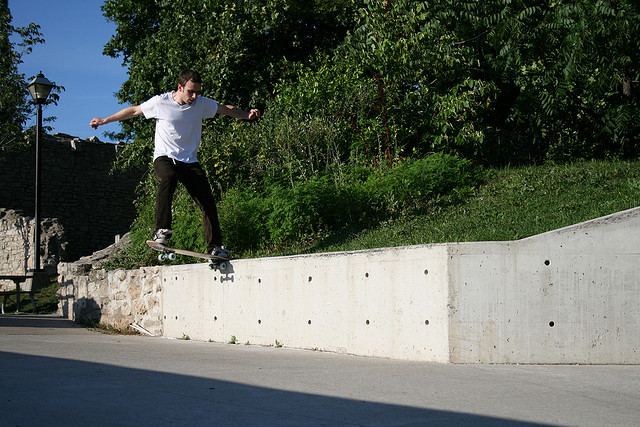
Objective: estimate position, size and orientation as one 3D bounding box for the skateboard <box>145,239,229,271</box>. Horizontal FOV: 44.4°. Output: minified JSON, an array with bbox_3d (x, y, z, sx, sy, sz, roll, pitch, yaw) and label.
[{"bbox_3d":[-2.608,0.822,15.802,1.321,0.208,0.328,14,-24,-8],"label":"skateboard"}]
